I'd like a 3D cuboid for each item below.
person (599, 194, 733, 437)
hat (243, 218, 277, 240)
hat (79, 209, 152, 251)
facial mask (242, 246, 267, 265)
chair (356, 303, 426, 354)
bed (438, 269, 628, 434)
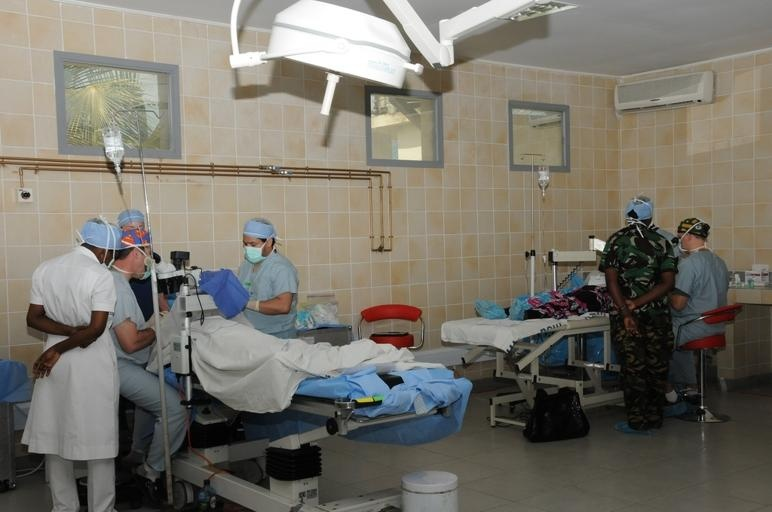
[{"bbox_3d":[2.263,0.535,5.521,0.636,2.129,0.329,0,5,13],"label":"person"},{"bbox_3d":[-0.999,-0.207,4.994,0.226,0.127,0.166,21,-12,-40],"label":"hat"},{"bbox_3d":[-1.851,-0.166,4.289,0.441,0.167,0.269,1,2,-41],"label":"hat"},{"bbox_3d":[-1.057,-0.002,5.033,0.151,0.111,0.157,0,-3,41],"label":"facial mask"},{"bbox_3d":[0.072,0.729,6.549,0.670,0.687,0.541,0,-5,-3],"label":"chair"},{"bbox_3d":[1.545,1.047,6.081,1.845,0.888,0.955,-2,2,-32],"label":"bed"}]
